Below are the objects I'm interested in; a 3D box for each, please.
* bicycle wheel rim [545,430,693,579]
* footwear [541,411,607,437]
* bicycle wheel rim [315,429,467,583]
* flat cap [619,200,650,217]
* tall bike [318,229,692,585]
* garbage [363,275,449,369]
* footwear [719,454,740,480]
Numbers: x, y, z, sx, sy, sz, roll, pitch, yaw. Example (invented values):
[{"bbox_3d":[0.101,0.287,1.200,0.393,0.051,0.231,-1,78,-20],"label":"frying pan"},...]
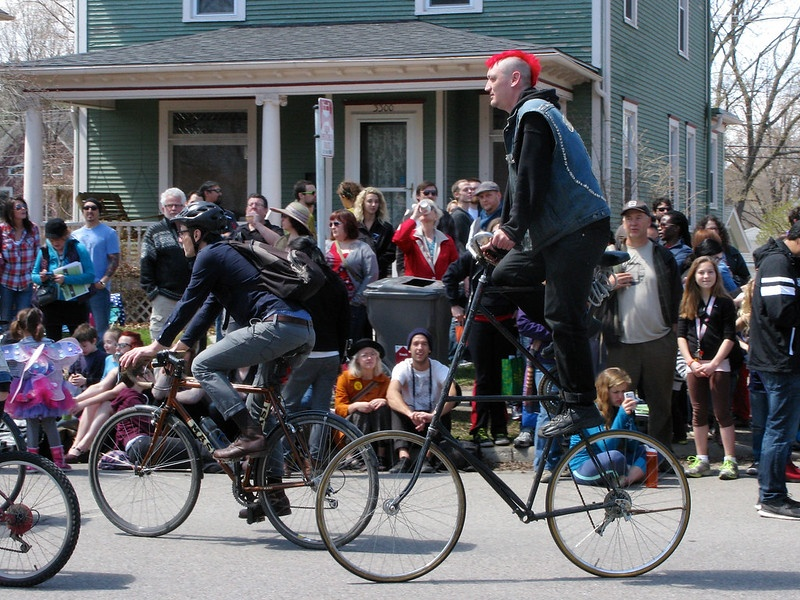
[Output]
[{"bbox_3d":[1.770,1.800,12.917,1.714,1.177,1.381,5,6,22],"label":"bicycle wheel rim"},{"bbox_3d":[1.481,1.067,12.480,0.651,0.242,0.194,-10,30,4],"label":"footwear"},{"bbox_3d":[0.061,1.801,12.585,1.493,1.239,0.325,10,4,3],"label":"bicycle wheel rim"},{"bbox_3d":[2.462,-0.959,15.169,0.233,0.149,0.317,4,7,27],"label":"flat cap"},{"bbox_3d":[1.050,1.082,13.763,4.017,2.566,2.138,5,9,-9],"label":"tall bike"},{"bbox_3d":[0.080,0.239,16.140,0.966,0.920,0.747,0,6,6],"label":"garbage"},{"bbox_3d":[3.422,1.734,15.138,0.193,0.210,0.328,2,6,13],"label":"footwear"}]
